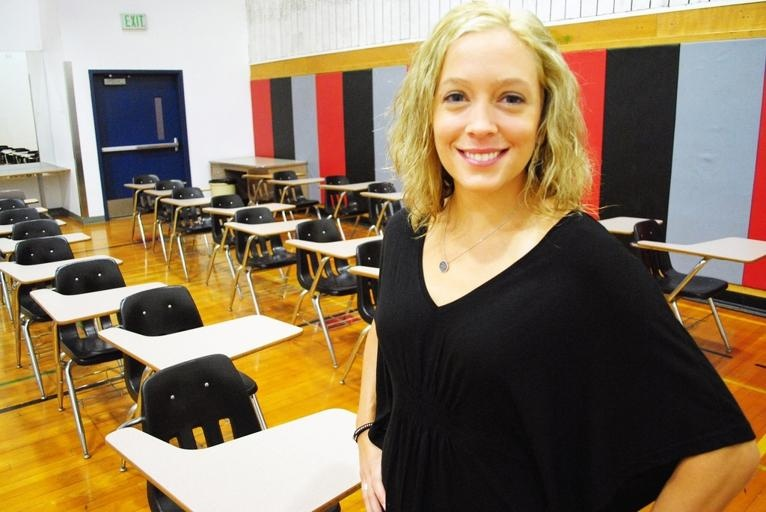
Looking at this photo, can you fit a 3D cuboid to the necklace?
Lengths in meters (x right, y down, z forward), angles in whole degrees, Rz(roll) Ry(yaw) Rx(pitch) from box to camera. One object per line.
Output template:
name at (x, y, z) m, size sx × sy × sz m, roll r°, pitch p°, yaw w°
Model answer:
necklace at (0.248, -0.039, 1.350) m, size 0.045 × 0.183 × 0.182 m, roll 21°, pitch 2°, yaw -29°
